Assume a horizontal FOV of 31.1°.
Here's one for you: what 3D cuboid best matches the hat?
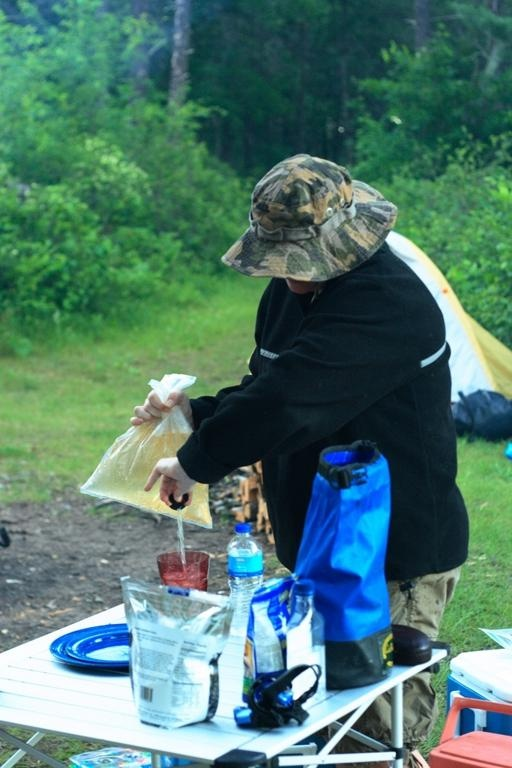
[{"bbox_3d":[0.111,-0.450,2.327,0.484,0.186,0.407,-1,45,10],"label":"hat"}]

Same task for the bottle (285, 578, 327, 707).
[{"bbox_3d":[0.104,0.557,1.974,0.046,0.272,0.104,-3,12,31],"label":"bottle"}]

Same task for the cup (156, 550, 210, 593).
[{"bbox_3d":[-0.173,0.476,2.350,0.127,0.080,0.104,-1,3,17],"label":"cup"}]
